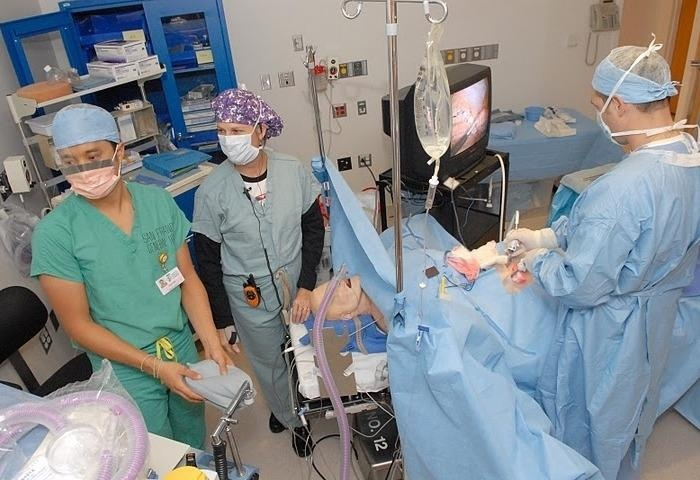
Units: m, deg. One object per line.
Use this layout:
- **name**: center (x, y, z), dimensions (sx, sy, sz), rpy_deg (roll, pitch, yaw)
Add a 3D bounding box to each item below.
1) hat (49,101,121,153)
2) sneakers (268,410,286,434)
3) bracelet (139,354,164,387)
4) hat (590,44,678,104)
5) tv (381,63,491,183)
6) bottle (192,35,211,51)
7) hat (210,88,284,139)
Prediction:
- **hat**: center (-1.119, -0.470, 2.150), dimensions (0.199, 0.166, 0.212), rpy_deg (8, 37, 36)
- **sneakers**: center (-0.464, 1.097, 3.117), dimensions (0.058, 0.070, 0.158), rpy_deg (-17, 37, -32)
- **bracelet**: center (-0.832, 0.550, 2.170), dimensions (0.083, 0.107, 0.045), rpy_deg (-25, 20, 37)
- **hat**: center (1.265, -0.678, 2.313), dimensions (0.240, 0.178, 0.336), rpy_deg (-27, 42, -6)
- **tv**: center (0.652, -0.813, 3.568), dimensions (0.898, 0.661, 0.454), rpy_deg (-26, 33, -36)
- **bottle**: center (-1.052, -1.372, 3.561), dimensions (0.120, 0.125, 0.031), rpy_deg (5, 9, -2)
- **hat**: center (-0.521, -0.634, 2.576), dimensions (0.284, 0.148, 0.261), rpy_deg (9, 20, -28)
